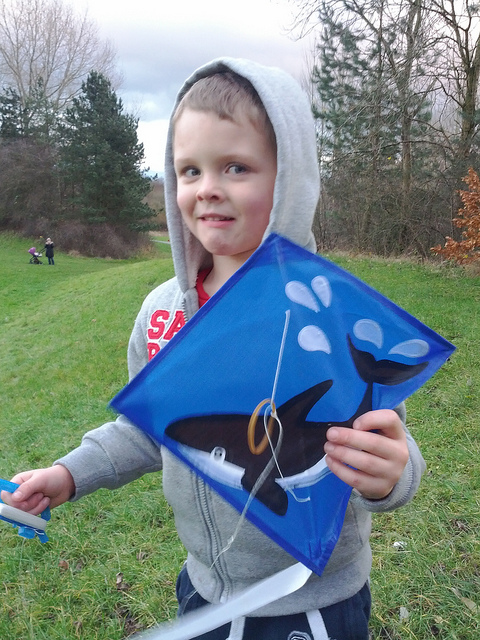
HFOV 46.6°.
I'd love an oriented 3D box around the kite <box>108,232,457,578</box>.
[{"bbox_3d":[0.103,0.104,1.229,0.688,0.668,0.187,36,13,3],"label":"kite"}]
